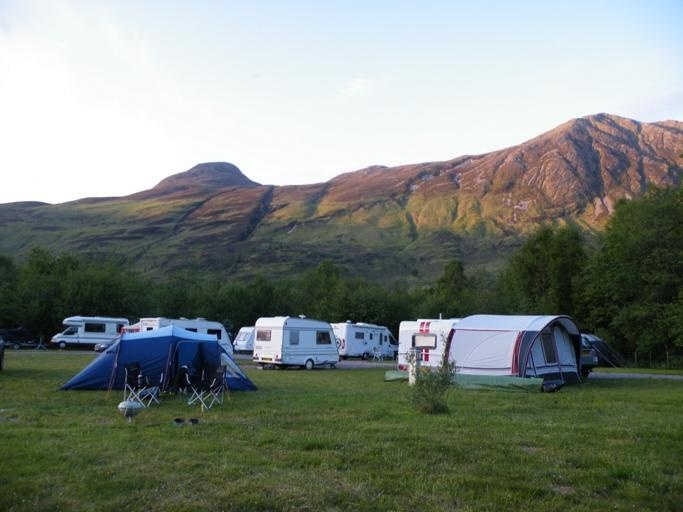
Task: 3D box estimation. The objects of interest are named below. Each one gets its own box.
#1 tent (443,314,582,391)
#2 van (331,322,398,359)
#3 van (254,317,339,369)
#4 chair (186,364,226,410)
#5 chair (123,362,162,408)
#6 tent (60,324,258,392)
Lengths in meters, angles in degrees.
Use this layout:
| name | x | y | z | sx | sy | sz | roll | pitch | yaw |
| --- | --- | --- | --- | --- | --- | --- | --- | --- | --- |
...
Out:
| name | x | y | z | sx | sy | sz | roll | pitch | yaw |
| --- | --- | --- | --- | --- | --- | --- | --- | --- | --- |
| tent | 7.467 | 3.880 | 29.095 | 4.618 | 2.973 | 4.914 | -3 | -7 | 42 |
| van | 1.789 | 6.565 | 51.831 | 6.321 | 2.756 | 2.358 | 9 | -12 | -42 |
| van | -2.122 | 4.597 | 36.809 | 4.899 | 2.837 | 2.361 | -1 | 1 | -36 |
| chair | -4.534 | 4.368 | 22.320 | 1.220 | 1.795 | 1.275 | -7 | -15 | 26 |
| chair | -6.626 | 4.216 | 22.109 | 1.270 | 1.918 | 1.330 | 0 | -4 | -2 |
| tent | -6.354 | 3.615 | 25.228 | 6.222 | 2.114 | 4.694 | 0 | -6 | 1 |
